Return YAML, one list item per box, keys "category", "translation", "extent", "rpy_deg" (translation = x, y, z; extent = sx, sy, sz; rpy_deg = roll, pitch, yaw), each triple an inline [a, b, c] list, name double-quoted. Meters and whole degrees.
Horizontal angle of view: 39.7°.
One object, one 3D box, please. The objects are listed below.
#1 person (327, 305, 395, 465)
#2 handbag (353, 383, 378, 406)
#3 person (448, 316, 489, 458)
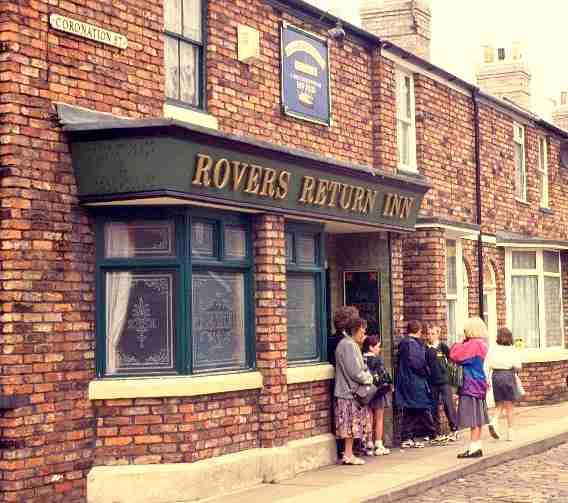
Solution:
- category: "person"
  translation: [1.040, 1.779, 10.713]
  extent: [0.761, 2.109, 0.959]
  rpy_deg: [-3, -7, 7]
- category: "handbag"
  translation: [1.080, 1.871, 10.344]
  extent: [0.266, 0.238, 0.095]
  rpy_deg: [-27, 27, -32]
- category: "person"
  translation: [2.573, 1.842, 10.838]
  extent: [0.490, 1.863, 0.708]
  rpy_deg: [-4, -7, 19]
